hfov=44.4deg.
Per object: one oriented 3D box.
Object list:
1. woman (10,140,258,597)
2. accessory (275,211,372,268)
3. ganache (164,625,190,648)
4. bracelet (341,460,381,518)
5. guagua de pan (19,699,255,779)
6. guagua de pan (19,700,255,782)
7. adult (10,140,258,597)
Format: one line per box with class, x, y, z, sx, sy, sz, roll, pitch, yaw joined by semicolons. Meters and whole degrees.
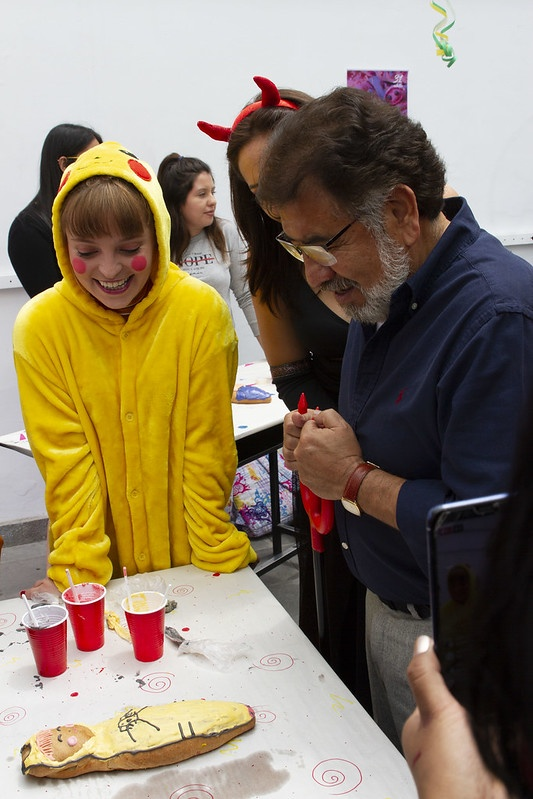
woman;-0.346;-0.055;1.623;0.541;1.093;0.381;-5;18;-5
accessory;0.093;-0.264;1.162;0.112;0.033;0.108;-38;30;-17
ganache;-0.195;0.507;1.397;0.022;0.018;0.079;-16;14;-19
bracelet;0.175;0.160;1.204;0.054;0.087;0.086;25;46;26
guagua de pan;-0.214;0.556;1.092;0.353;0.065;0.130;-5;11;-10
guagua de pan;-0.212;0.557;1.089;0.354;0.066;0.130;-5;10;-10
adult;-0.346;-0.055;1.623;0.541;1.093;0.381;-5;18;-5
